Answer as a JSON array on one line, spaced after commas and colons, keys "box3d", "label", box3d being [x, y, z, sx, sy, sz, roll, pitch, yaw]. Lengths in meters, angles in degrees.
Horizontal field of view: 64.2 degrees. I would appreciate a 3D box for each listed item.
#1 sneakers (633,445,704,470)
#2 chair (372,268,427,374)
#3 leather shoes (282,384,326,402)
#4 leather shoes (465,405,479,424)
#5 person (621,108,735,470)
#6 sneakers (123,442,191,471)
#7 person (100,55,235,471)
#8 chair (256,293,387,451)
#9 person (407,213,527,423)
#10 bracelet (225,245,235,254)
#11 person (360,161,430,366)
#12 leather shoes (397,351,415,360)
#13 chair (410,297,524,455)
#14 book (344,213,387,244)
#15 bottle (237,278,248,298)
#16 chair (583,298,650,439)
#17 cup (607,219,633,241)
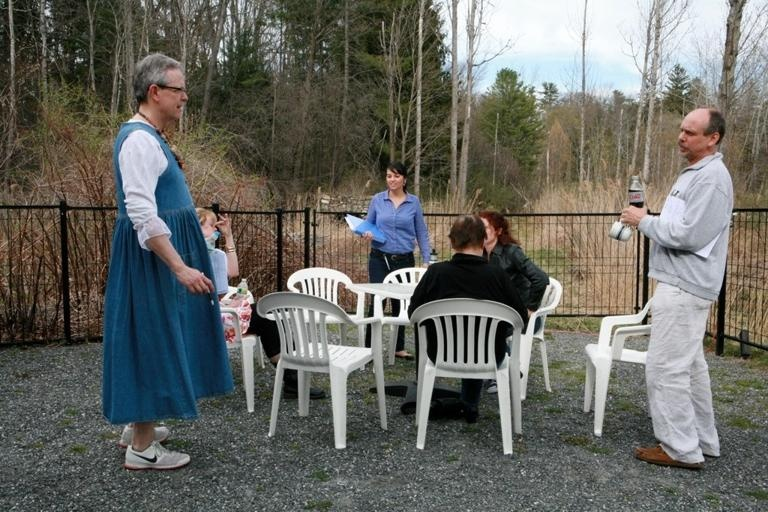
[{"box3d": [2.493, 1.720, 5.396, 0.550, 0.236, 0.218, 5, 1, 23], "label": "sneakers"}, {"box3d": [0.259, 0.780, 7.519, 0.612, 0.981, 0.719, 5, -16, -26], "label": "chair"}, {"box3d": [-0.822, 1.425, 6.544, 0.472, 0.216, 0.167, -3, -1, -3], "label": "leather shoes"}, {"box3d": [0.867, 1.539, 6.003, 0.162, 0.163, 0.121, -9, 12, -44], "label": "leather shoes"}, {"box3d": [2.599, 0.263, 5.316, 0.816, 3.036, 0.754, -8, 15, -36], "label": "person"}, {"box3d": [-1.856, 1.665, 5.151, 0.530, 0.238, 0.213, 2, -2, -14], "label": "sneakers"}, {"box3d": [-1.787, 0.110, 4.915, 0.972, 3.377, 0.734, -5, 13, -26], "label": "person"}, {"box3d": [-0.563, 1.002, 5.854, 0.976, 1.415, 0.999, 2, 5, 29], "label": "chair"}, {"box3d": [0.895, 0.614, 6.009, 1.144, 2.111, 1.228, -3, 15, -19], "label": "person"}, {"box3d": [-1.617, -0.080, 6.549, 0.137, 0.100, 0.184, 0, 1, -10], "label": "bracelet"}, {"box3d": [0.127, 0.132, 7.920, 0.922, 2.604, 0.778, -2, 13, -11], "label": "person"}, {"box3d": [0.309, 1.271, 7.919, 0.249, 0.114, 0.093, 1, 6, 19], "label": "leather shoes"}, {"box3d": [0.717, 0.987, 5.266, 0.916, 1.254, 0.933, -3, -13, 20], "label": "chair"}, {"box3d": [-0.184, -0.322, 7.560, 0.544, 0.387, 0.408, -4, 13, -22], "label": "book"}, {"box3d": [-1.576, 0.359, 6.962, 0.152, 0.283, 0.159, 0, -6, 0], "label": "bottle"}, {"box3d": [2.349, 1.042, 6.005, 0.723, 1.178, 0.811, -2, 4, -4], "label": "chair"}, {"box3d": [2.123, -0.217, 5.489, 0.212, 0.174, 0.214, 30, 8, -5], "label": "cup"}]
